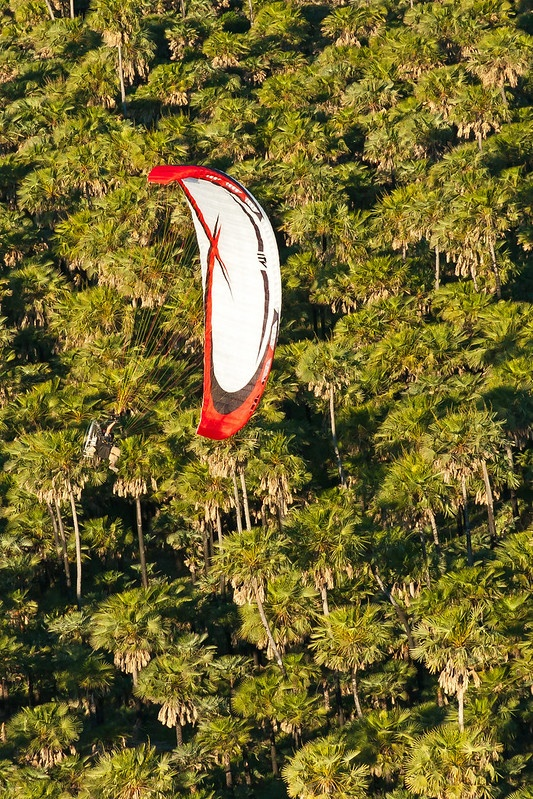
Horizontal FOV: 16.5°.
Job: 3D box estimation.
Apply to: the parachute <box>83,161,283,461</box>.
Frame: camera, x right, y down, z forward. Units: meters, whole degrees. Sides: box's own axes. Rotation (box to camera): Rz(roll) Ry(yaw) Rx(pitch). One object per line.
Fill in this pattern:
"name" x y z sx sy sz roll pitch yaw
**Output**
"parachute" -2.054 -2.015 53.190 1.777 8.764 5.646 2 11 16
